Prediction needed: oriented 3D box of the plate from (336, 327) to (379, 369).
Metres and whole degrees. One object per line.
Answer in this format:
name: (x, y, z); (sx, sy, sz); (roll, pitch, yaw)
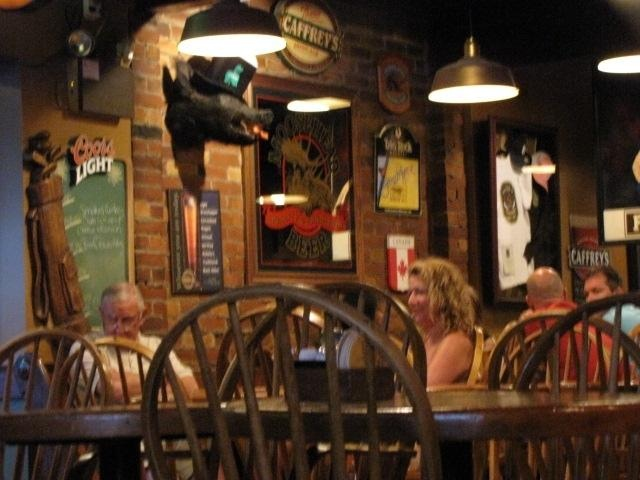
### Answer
plate: (0.081, 0.288, 2.065); (0.098, 0.114, 0.024); (-22, 9, -34)

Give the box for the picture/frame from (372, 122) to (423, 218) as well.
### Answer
picture/frame: (0.555, -0.505, 6.046); (0.592, 0.912, 0.038); (7, -10, -44)

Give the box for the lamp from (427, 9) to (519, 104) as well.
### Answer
lamp: (0.850, -0.978, 4.537); (0.390, 0.487, 0.402); (-2, 0, -44)
